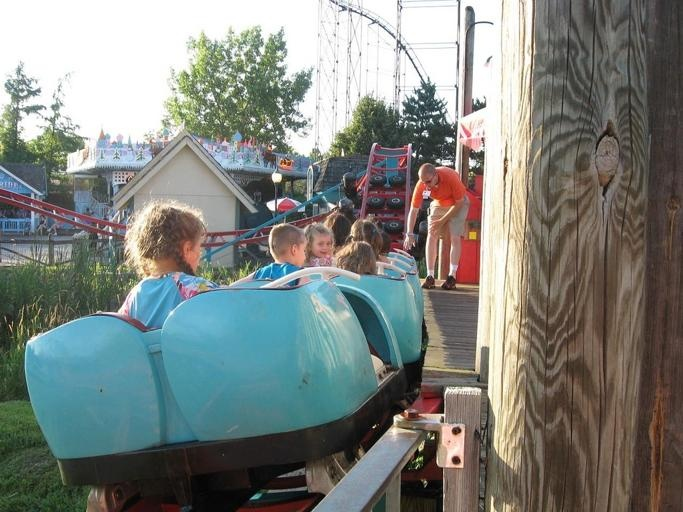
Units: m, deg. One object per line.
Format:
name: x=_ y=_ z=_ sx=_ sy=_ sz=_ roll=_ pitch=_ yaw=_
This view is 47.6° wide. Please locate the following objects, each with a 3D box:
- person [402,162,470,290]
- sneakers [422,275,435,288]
person: x=1.117 y=-0.384 z=8.995 sx=0.805 sy=1.566 sz=0.544 roll=-13 pitch=18 yaw=-30
sneakers: x=1.042 y=0.321 z=9.253 sx=0.072 sy=0.184 sz=0.214 roll=0 pitch=-5 yaw=38
